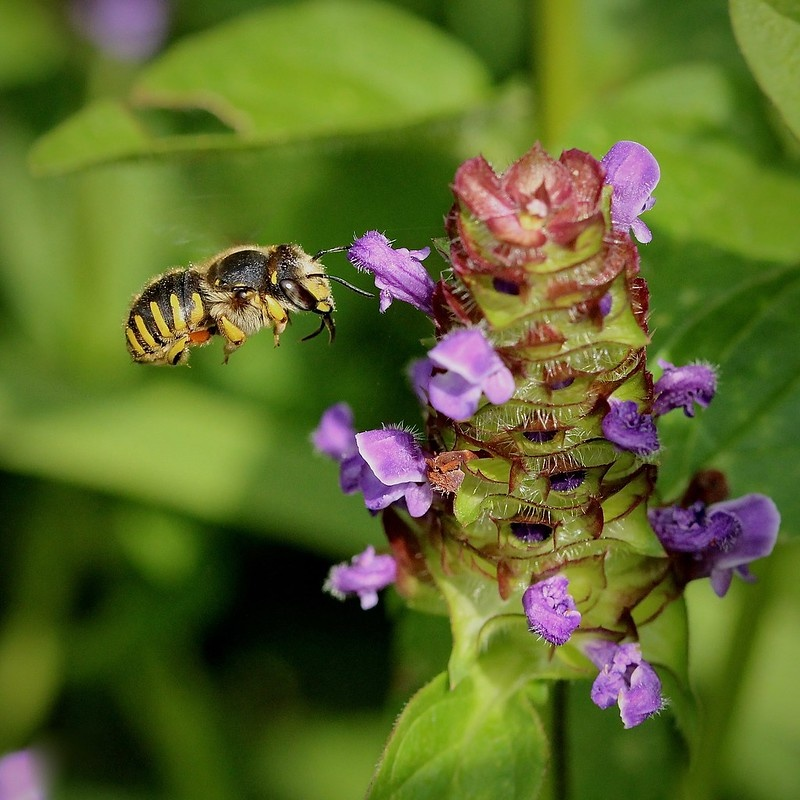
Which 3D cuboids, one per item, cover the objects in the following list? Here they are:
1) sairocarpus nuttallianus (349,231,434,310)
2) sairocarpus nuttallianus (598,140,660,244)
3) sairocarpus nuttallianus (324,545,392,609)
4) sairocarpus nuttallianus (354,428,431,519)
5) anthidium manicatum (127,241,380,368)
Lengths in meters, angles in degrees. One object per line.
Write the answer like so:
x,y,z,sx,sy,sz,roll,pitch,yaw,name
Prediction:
-0.007,-0.378,2.972,0.177,0.085,0.272,-48,64,10,sairocarpus nuttallianus
0.623,-0.562,2.753,0.156,0.239,0.326,7,50,12,sairocarpus nuttallianus
-0.119,0.531,3.097,0.243,0.212,0.093,-8,24,-23,sairocarpus nuttallianus
-0.006,0.198,2.939,0.226,0.248,0.088,12,9,17,sairocarpus nuttallianus
-0.688,-0.392,4.127,0.865,0.504,0.371,-3,48,3,anthidium manicatum
